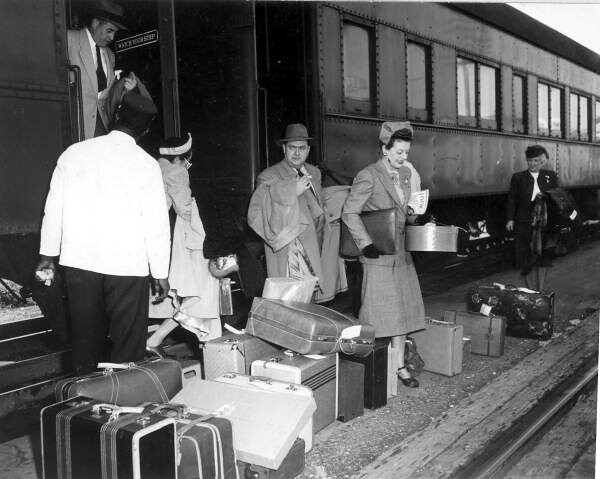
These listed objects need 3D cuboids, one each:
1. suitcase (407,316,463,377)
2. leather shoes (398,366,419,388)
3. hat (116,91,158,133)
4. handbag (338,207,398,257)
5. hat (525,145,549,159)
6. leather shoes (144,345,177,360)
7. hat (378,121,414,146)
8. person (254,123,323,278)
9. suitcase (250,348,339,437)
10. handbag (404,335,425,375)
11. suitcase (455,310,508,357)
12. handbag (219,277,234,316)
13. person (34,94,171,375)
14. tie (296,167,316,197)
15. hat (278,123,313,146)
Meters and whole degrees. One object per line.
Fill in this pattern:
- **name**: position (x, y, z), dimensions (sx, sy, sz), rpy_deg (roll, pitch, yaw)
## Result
- **suitcase**: position (1.213, 0.914, 5.457), dimensions (0.149, 0.441, 0.437), rpy_deg (-5, 6, -31)
- **leather shoes**: position (0.873, 1.128, 5.142), dimensions (0.200, 0.125, 0.078), rpy_deg (38, -19, 21)
- **hat**: position (-0.999, -0.779, 3.920), dimensions (0.212, 0.239, 0.267), rpy_deg (22, 23, -14)
- **handbag**: position (0.631, -0.067, 4.796), dimensions (0.330, 0.372, 0.116), rpy_deg (8, 16, 22)
- **hat**: position (2.749, -1.020, 7.311), dimensions (0.169, 0.106, 0.249), rpy_deg (5, 11, 27)
- **leather shoes**: position (-1.042, 0.841, 4.688), dimensions (0.246, 0.102, 0.245), rpy_deg (4, -6, 27)
- **hat**: position (0.737, -0.818, 4.851), dimensions (0.248, 0.179, 0.203), rpy_deg (5, 9, 24)
- **person**: position (-0.051, -0.295, 4.949), dimensions (0.485, 1.208, 0.639), rpy_deg (7, 10, 42)
- **suitcase**: position (0.026, 1.035, 4.209), dimensions (0.274, 0.513, 0.514), rpy_deg (5, 8, 33)
- **handbag**: position (0.955, 0.980, 5.271), dimensions (0.106, 0.332, 0.190), rpy_deg (8, -20, -42)
- **suitcase**: position (1.680, 0.887, 5.864), dimensions (0.363, 0.352, 0.158), rpy_deg (2, 3, 26)
- **handbag**: position (-0.598, 0.473, 5.088), dimensions (0.126, 0.311, 0.046), rpy_deg (4, 9, 24)
- **person**: position (-1.215, -0.046, 3.902), dimensions (0.779, 1.708, 0.304), rpy_deg (-3, 8, -25)
- **tie**: position (0.086, -0.474, 4.893), dimensions (0.099, 0.204, 0.261), rpy_deg (6, 6, -16)
- **hat**: position (-0.037, -0.872, 5.243), dimensions (0.276, 0.137, 0.327), rpy_deg (-1, 8, -1)
